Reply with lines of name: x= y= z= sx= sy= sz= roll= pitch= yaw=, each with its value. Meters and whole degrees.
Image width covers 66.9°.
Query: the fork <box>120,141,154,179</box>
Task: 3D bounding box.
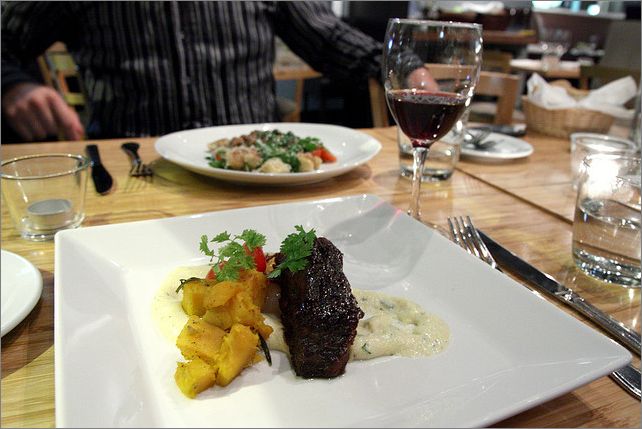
fork: x=-0.899 y=-0.277 z=2.347 sx=0.103 sy=0.053 sz=0.366 roll=0 pitch=25 yaw=-24

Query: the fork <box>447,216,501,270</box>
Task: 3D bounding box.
fork: x=0.558 y=0.082 z=1.864 sx=0.064 sy=0.056 sz=0.386 roll=1 pitch=25 yaw=-14
